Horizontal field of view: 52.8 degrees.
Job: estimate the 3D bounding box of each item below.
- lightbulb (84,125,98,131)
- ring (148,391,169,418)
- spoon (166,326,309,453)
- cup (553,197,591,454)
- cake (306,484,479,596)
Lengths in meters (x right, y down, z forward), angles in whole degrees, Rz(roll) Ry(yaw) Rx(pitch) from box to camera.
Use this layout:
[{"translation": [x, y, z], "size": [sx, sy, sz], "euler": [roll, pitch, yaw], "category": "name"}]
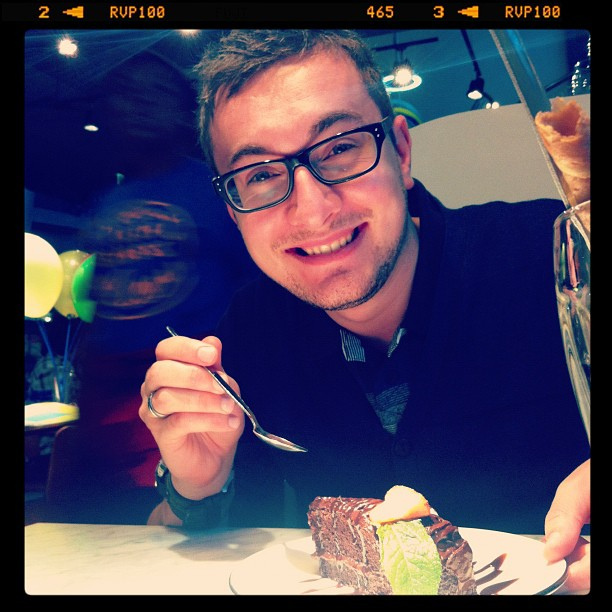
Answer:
[{"translation": [-0.547, -0.456, 1.574], "size": [0.021, 0.007, 0.016], "euler": [6, 29, -4], "category": "lightbulb"}, {"translation": [-0.382, 0.255, 1.599], "size": [0.059, 0.056, 0.014], "euler": [-8, 3, 41], "category": "ring"}, {"translation": [-0.178, 0.206, 1.602], "size": [0.057, 0.412, 0.057], "euler": [-49, -2, 39], "category": "spoon"}, {"translation": [0.696, 0.026, 1.564], "size": [0.093, 0.571, 0.168], "euler": [-5, 16, 25], "category": "cup"}, {"translation": [0.211, 0.609, 1.600], "size": [0.423, 0.235, 0.193], "euler": [-2, 6, 24], "category": "cake"}]
